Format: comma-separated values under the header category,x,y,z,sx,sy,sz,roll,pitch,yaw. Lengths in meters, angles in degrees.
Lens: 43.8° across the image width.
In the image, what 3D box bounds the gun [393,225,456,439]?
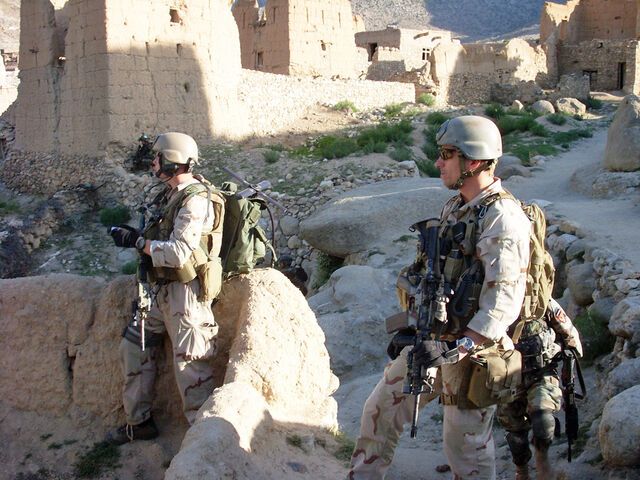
category,x,y,z,sx,sy,sz,roll,pitch,yaw
gun,0.977,0.770,7.385,0.456,2.016,0.682,3,-4,-10

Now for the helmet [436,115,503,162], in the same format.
category,x,y,z,sx,sy,sz,roll,pitch,yaw
helmet,1.424,-1.000,7.558,0.505,0.350,0.402,-7,18,-5

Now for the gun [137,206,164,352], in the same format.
category,x,y,z,sx,sy,sz,roll,pitch,yaw
gun,-1.680,0.326,8.237,0.198,1.342,0.458,0,-8,-11

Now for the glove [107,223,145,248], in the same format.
category,x,y,z,sx,sy,sz,roll,pitch,yaw
glove,-1.996,-0.050,8.208,0.106,0.231,0.281,-33,41,-33

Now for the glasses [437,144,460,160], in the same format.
category,x,y,z,sx,sy,sz,roll,pitch,yaw
glasses,1.228,-0.831,7.540,0.149,0.075,0.128,6,4,-1
